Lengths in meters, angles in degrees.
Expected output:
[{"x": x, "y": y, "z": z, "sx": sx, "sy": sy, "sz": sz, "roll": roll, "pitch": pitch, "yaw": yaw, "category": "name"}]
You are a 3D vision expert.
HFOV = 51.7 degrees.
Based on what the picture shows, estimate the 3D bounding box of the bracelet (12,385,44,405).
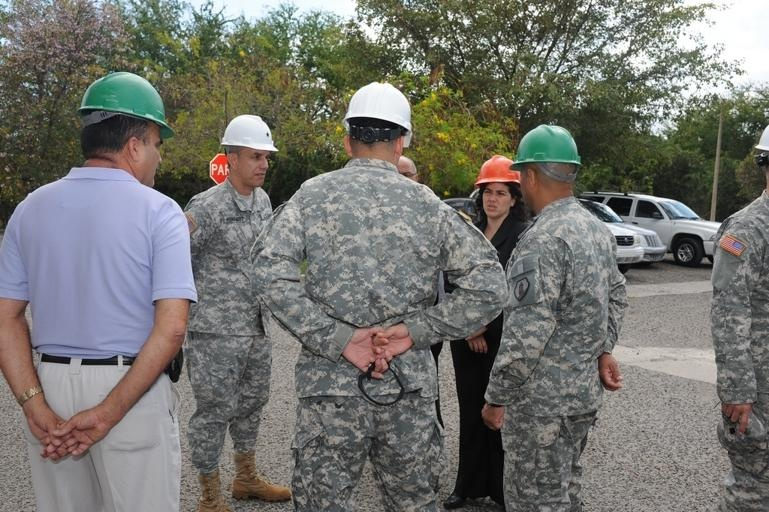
[{"x": -2.213, "y": 0.866, "z": 4.956, "sx": 0.133, "sy": 0.123, "sz": 0.126, "roll": -41, "pitch": 10, "yaw": -3, "category": "bracelet"}]

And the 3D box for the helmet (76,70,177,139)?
[{"x": -1.636, "y": -0.978, "z": 5.110, "sx": 0.477, "sy": 0.270, "sz": 0.371, "roll": -3, "pitch": 9, "yaw": -35, "category": "helmet"}]

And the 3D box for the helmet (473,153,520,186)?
[{"x": 0.937, "y": -0.731, "z": 6.720, "sx": 0.258, "sy": 0.167, "sz": 0.316, "roll": 3, "pitch": 3, "yaw": 29, "category": "helmet"}]

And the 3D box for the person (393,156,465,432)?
[{"x": 0.365, "y": 0.207, "z": 6.824, "sx": 0.357, "sy": 2.587, "sz": 0.375, "roll": -1, "pitch": 2, "yaw": -9, "category": "person"}]

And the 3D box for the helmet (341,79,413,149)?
[{"x": -0.032, "y": -0.944, "z": 5.231, "sx": 0.396, "sy": 0.362, "sz": 0.443, "roll": 5, "pitch": 0, "yaw": 10, "category": "helmet"}]

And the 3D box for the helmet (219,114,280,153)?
[{"x": -1.124, "y": -1.030, "z": 6.663, "sx": 0.388, "sy": 0.212, "sz": 0.316, "roll": 4, "pitch": 3, "yaw": 29, "category": "helmet"}]

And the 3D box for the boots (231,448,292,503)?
[{"x": -0.950, "y": 1.842, "z": 6.578, "sx": 0.633, "sy": 0.469, "sz": 0.263, "roll": 1, "pitch": 1, "yaw": -8, "category": "boots"}]
